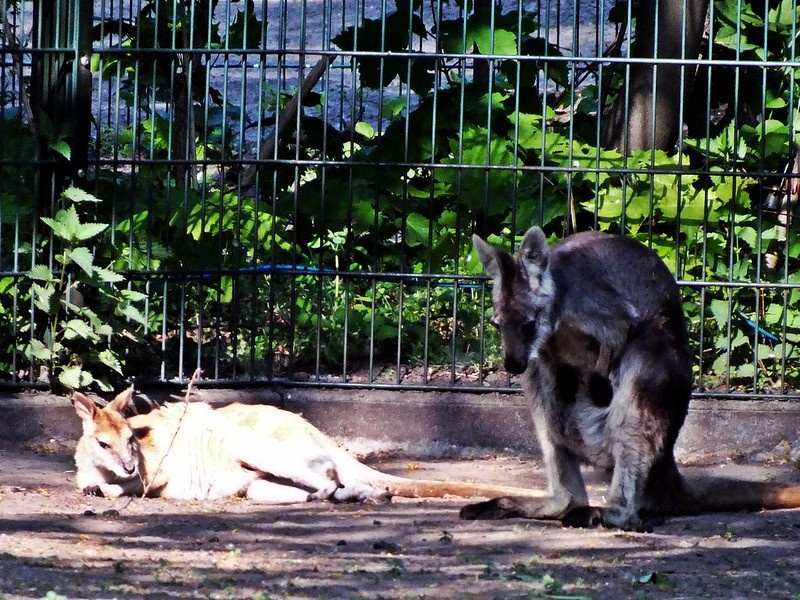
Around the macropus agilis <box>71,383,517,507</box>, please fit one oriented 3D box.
[{"bbox_3d":[-0.665,1.038,12.447,3.527,1.082,0.905,-1,-9,-18],"label":"macropus agilis"}]
